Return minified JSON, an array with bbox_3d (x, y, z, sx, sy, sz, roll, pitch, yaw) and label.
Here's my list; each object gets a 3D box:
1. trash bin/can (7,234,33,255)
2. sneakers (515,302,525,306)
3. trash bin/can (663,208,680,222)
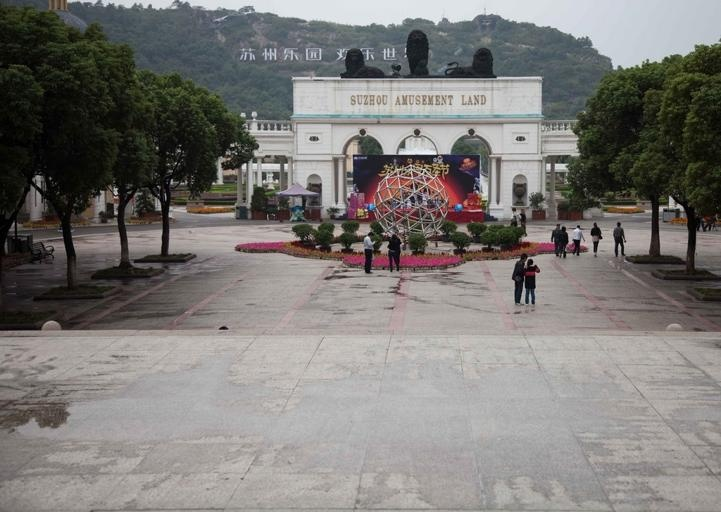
[{"bbox_3d":[-17.589,-0.612,33.988,1.261,1.065,0.637,1,1,-6],"label":"trash bin/can"},{"bbox_3d":[5.307,1.544,21.989,0.313,0.114,0.360,1,9,10],"label":"sneakers"},{"bbox_3d":[28.041,-3.684,59.655,1.379,1.038,3.344,3,10,24],"label":"trash bin/can"}]
